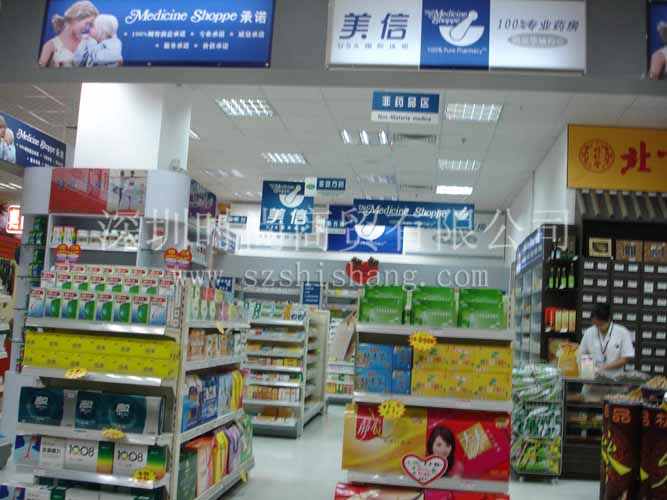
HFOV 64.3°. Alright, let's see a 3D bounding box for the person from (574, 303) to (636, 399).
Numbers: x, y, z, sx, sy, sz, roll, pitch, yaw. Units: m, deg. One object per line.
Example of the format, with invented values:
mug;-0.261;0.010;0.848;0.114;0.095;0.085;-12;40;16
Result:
person;3.369;1.247;6.648;0.607;1.150;1.014;-5;-11;36
